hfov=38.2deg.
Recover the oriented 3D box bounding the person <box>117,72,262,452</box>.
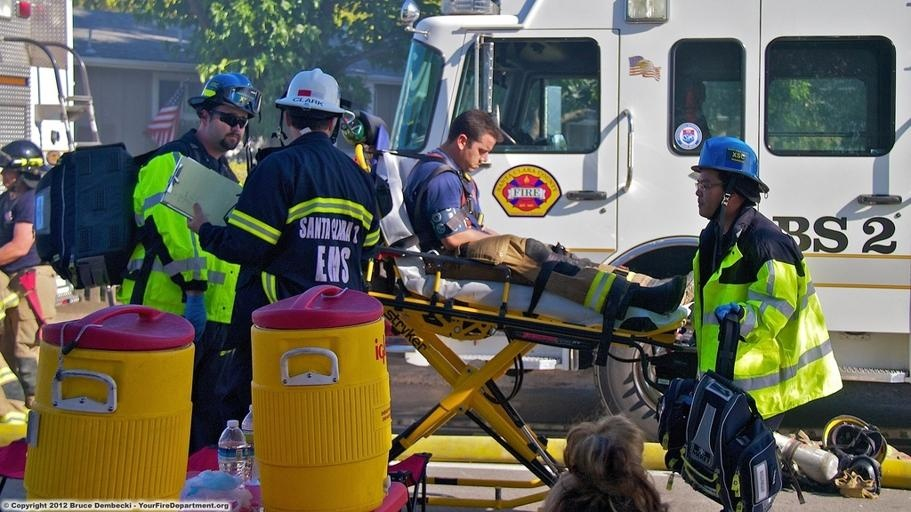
[{"bbox_3d":[-2.456,0.012,12.934,1.184,3.883,1.237,0,1,-36],"label":"person"}]

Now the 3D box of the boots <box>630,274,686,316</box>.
[{"bbox_3d":[1.985,0.393,13.006,0.701,0.512,0.255,1,-1,9],"label":"boots"}]

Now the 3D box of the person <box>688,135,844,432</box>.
[{"bbox_3d":[2.812,0.240,12.510,1.135,3.026,1.395,2,1,-33],"label":"person"}]

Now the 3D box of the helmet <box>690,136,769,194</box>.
[{"bbox_3d":[2.589,-0.869,12.550,0.622,0.350,0.470,4,5,5],"label":"helmet"}]
